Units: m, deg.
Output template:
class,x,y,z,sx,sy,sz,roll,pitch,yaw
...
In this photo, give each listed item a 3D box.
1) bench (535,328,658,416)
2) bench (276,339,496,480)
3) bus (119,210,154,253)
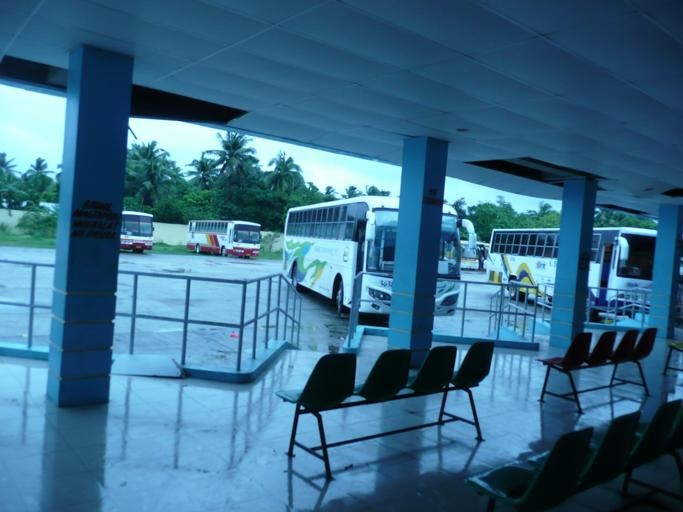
class,x,y,z,sx,sy,sz,roll,pitch,yaw
bench,4.035,1.710,8.010,2.277,1.087,0.786,2,-3,-33
bench,0.607,1.643,5.870,2.802,1.116,0.891,4,-9,-36
bus,-14.955,-1.688,36.823,2.038,3.017,1.707,3,4,-25
